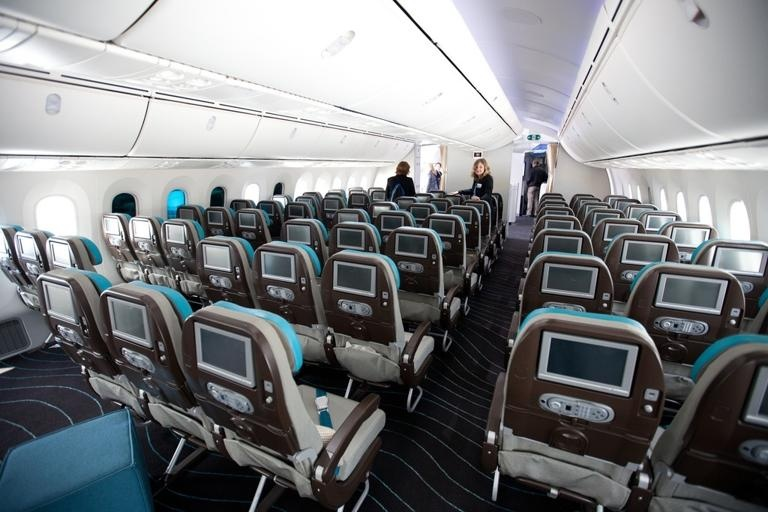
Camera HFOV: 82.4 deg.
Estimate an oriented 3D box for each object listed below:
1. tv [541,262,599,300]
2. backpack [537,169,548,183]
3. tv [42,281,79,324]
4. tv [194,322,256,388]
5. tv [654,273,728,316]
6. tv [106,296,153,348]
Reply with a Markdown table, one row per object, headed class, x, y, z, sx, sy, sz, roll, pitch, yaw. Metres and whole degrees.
| class | x | y | z | sx | sy | sz | roll | pitch | yaw |
| --- | --- | --- | --- | --- | --- | --- | --- | --- | --- |
| tv | 1.763 | 0.221 | 4.106 | 0.342 | 0.246 | 0.036 | 5 | 19 | 18 |
| backpack | 6.099 | -3.054 | 16.851 | 0.316 | 0.573 | 0.176 | -1 | 10 | -19 |
| tv | -2.709 | 0.378 | 3.693 | 0.345 | 0.334 | 0.035 | 10 | 19 | 28 |
| tv | -1.080 | 0.670 | 3.028 | 0.456 | 0.326 | 0.035 | 11 | 22 | 27 |
| tv | 2.763 | 0.329 | 3.908 | 0.382 | 0.264 | 0.039 | 6 | 24 | 20 |
| tv | -1.915 | 0.490 | 3.330 | 0.387 | 0.279 | 0.040 | 8 | 14 | 25 |
